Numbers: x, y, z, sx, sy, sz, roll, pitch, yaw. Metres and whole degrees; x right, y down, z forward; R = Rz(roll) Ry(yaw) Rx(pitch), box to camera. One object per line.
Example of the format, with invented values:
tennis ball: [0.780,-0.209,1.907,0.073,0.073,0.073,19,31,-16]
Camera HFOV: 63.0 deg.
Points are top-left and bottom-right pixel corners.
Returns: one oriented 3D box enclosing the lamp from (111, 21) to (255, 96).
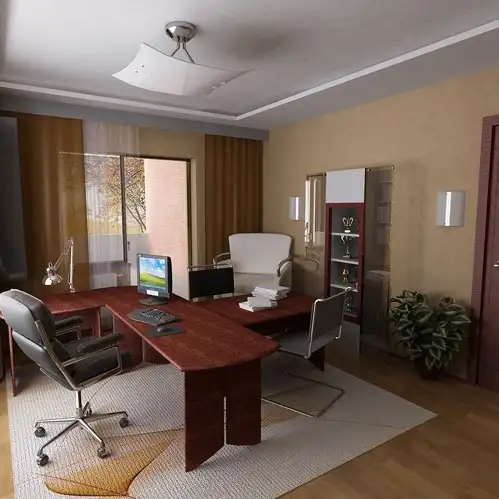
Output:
lamp: [-0.559,-1.373,2.891,0.713,0.380,0.954,-5,10,-32]

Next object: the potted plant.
potted plant: [1.611,0.727,3.853,0.843,0.743,0.747,-1,4,4]

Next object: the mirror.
mirror: [0.717,-0.174,4.805,0.069,1.396,0.324,2,-2,-35]

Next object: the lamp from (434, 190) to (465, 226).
lamp: [1.721,-0.349,3.502,0.220,0.304,0.177,0,9,1]

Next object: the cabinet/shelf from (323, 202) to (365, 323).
cabinet/shelf: [1.099,0.119,4.320,0.317,1.210,0.580,-4,7,-33]

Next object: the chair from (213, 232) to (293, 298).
chair: [0.035,0.307,5.603,0.983,0.973,0.864,3,13,16]

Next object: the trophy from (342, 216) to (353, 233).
trophy: [1.079,-0.284,4.473,0.086,0.184,0.179,-7,9,-44]
